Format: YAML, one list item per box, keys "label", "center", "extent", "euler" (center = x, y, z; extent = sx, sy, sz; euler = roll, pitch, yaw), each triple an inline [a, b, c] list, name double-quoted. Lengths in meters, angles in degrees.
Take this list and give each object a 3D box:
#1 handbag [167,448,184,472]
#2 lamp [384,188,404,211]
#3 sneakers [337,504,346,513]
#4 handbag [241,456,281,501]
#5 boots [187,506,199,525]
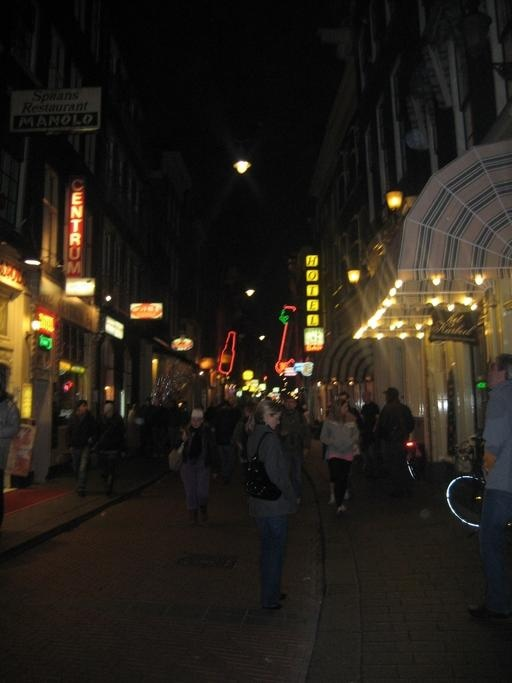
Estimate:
- label: "handbag"
  center: [-1.173, 1.711, 8.651]
  extent: [0.167, 0.324, 0.430]
  euler: [0, -8, -8]
- label: "lamp"
  center: [3.329, -3.441, 14.319]
  extent: [0.333, 0.474, 0.529]
  euler: [-4, -9, 20]
- label: "sneakers"
  center: [1.276, 2.518, 8.908]
  extent: [0.113, 0.152, 0.353]
  euler: [-3, -29, 7]
- label: "handbag"
  center: [0.025, 1.113, 4.846]
  extent: [0.155, 0.350, 0.345]
  euler: [7, -11, -42]
- label: "boots"
  center: [-0.923, 2.551, 8.681]
  extent: [0.143, 0.243, 0.126]
  euler: [2, -9, -18]
